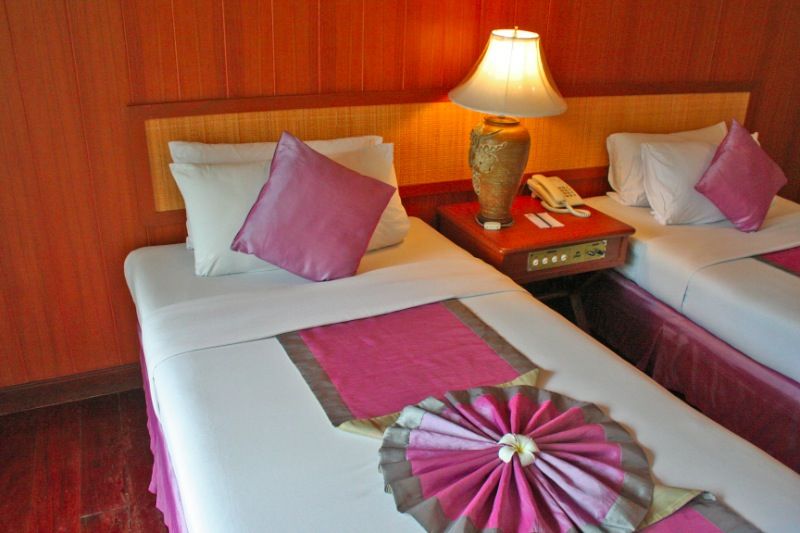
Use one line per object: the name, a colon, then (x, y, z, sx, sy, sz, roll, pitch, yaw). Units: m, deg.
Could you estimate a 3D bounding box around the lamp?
lamp: (0.376, -0.906, 3.332, 0.881, 1.303, 0.877, 0, 30, -1)
